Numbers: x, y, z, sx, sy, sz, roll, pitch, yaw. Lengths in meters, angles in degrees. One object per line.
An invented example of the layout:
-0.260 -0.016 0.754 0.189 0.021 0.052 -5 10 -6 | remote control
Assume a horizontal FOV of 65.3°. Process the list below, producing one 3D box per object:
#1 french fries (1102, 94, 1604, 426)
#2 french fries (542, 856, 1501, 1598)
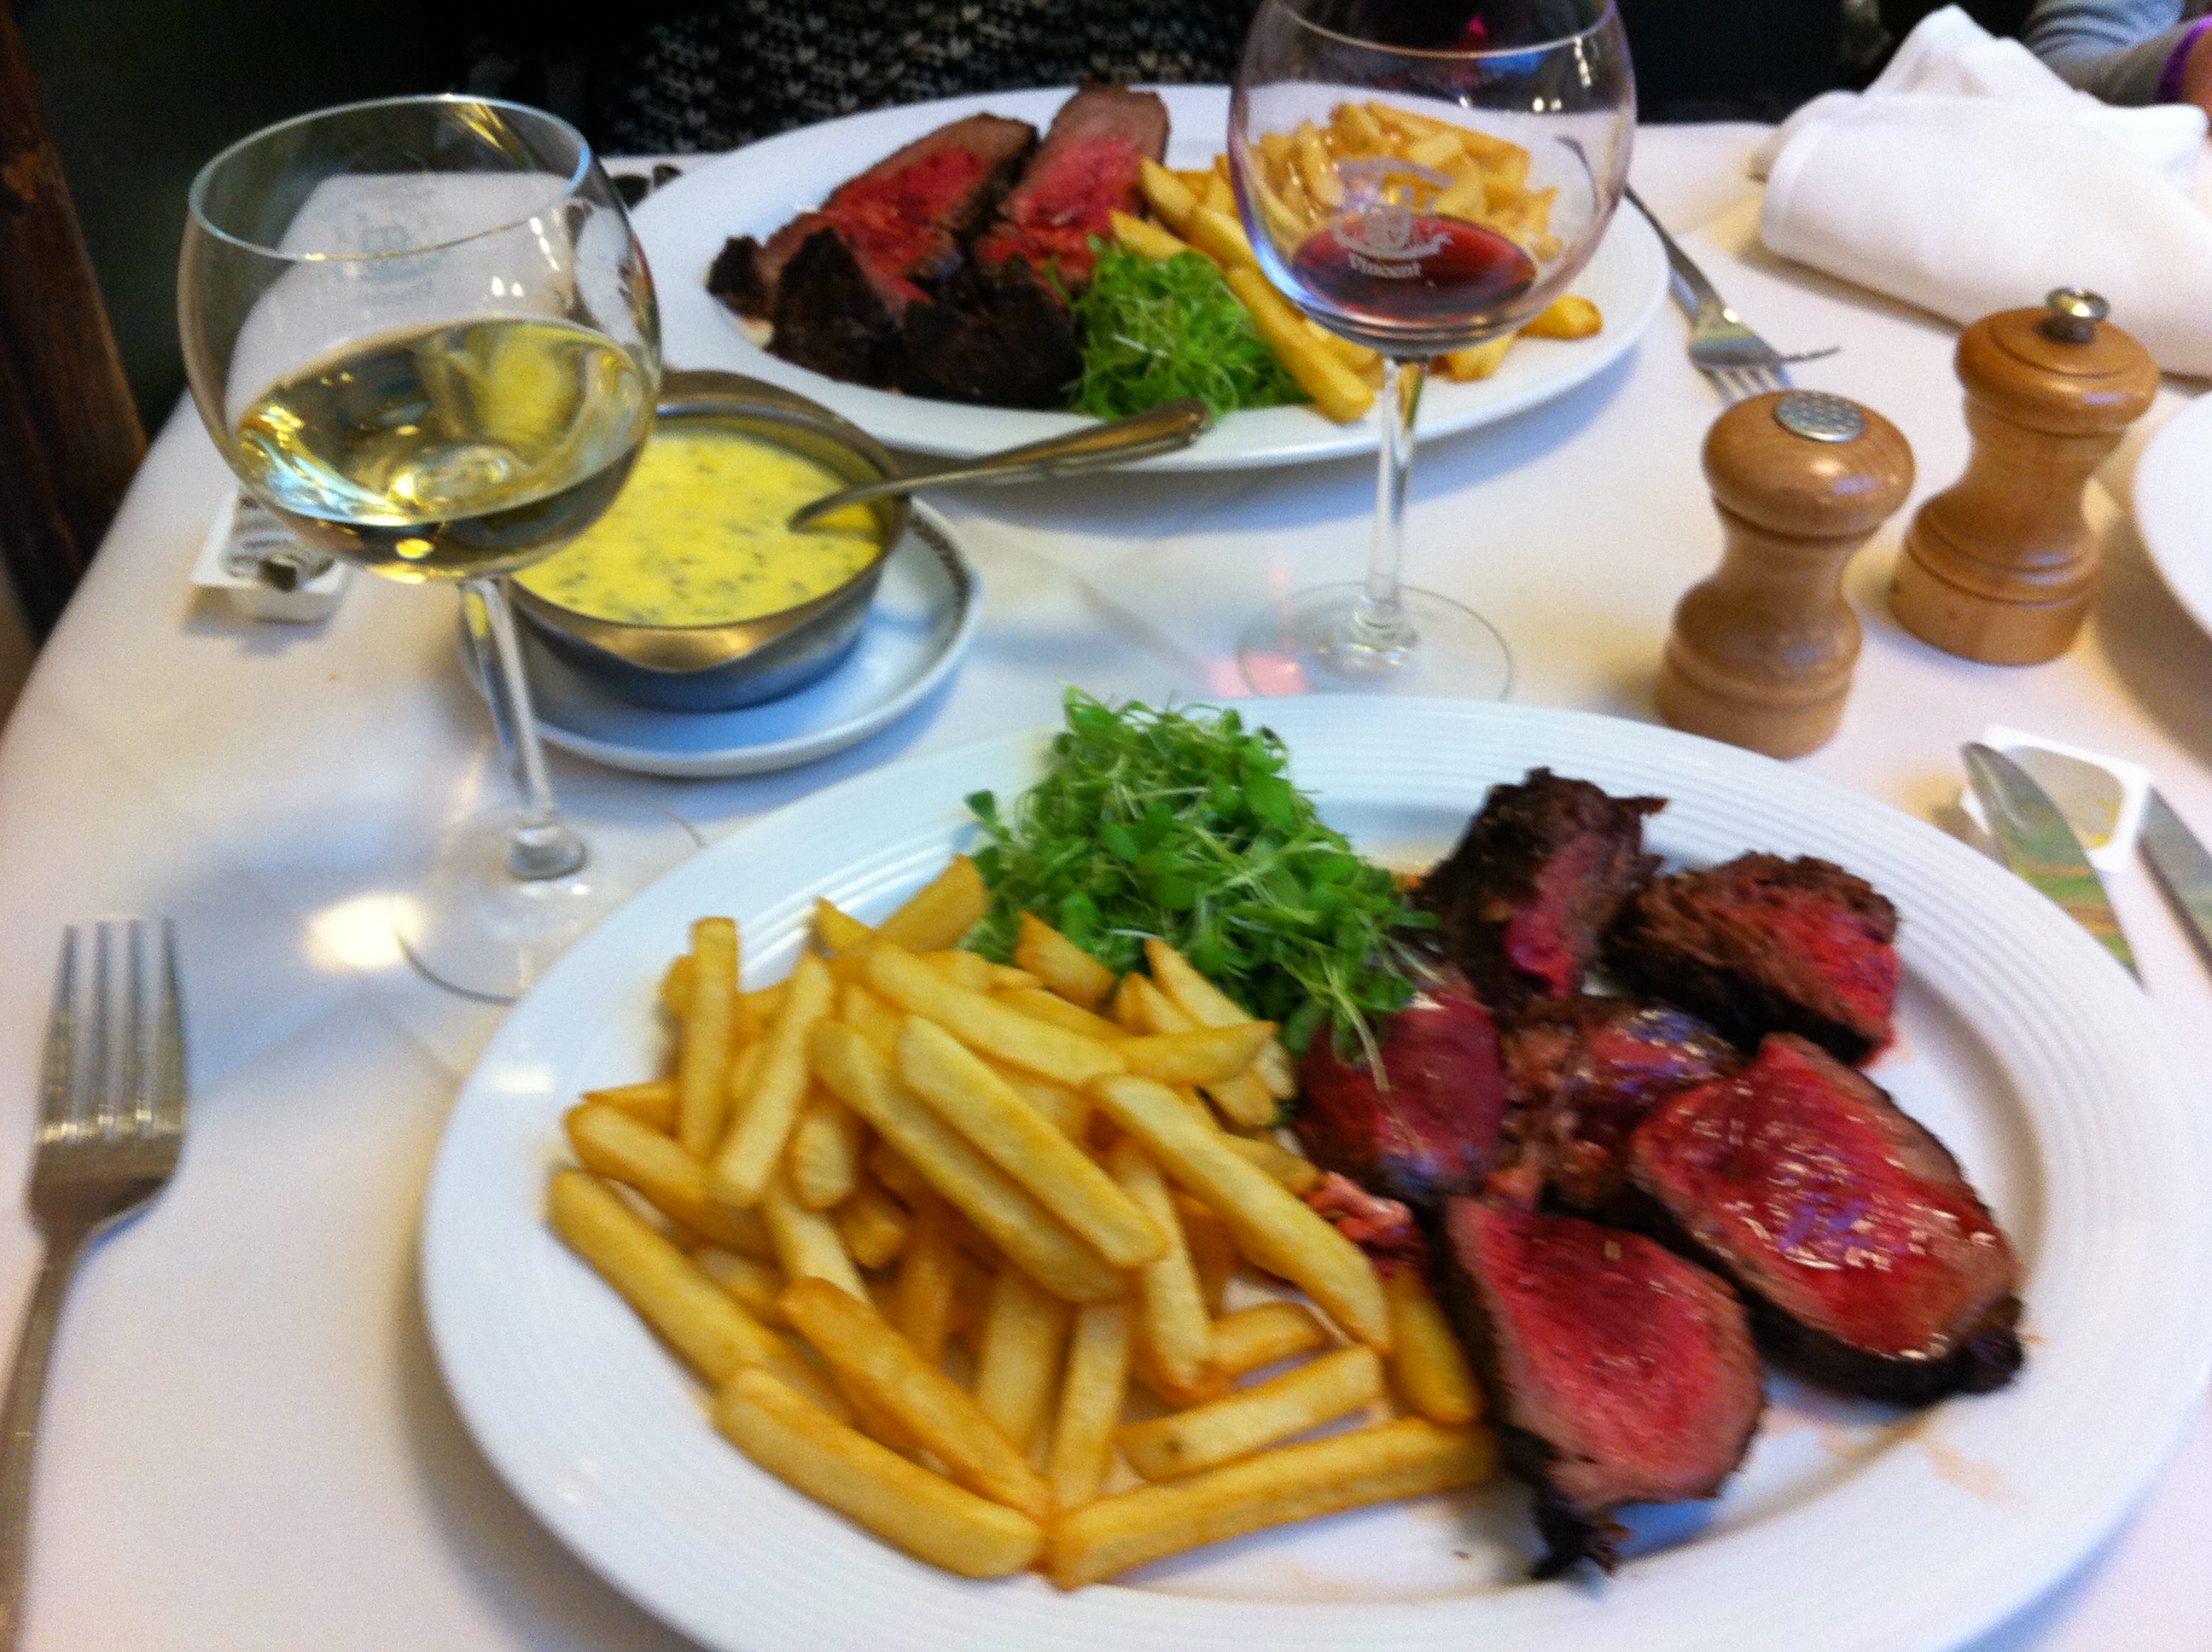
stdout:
0.341 -0.657 1.961 0.331 0.463 0.079 10 79 10 | french fries
-0.126 0.418 1.302 0.133 0.563 0.698 -57 35 -5 | french fries
